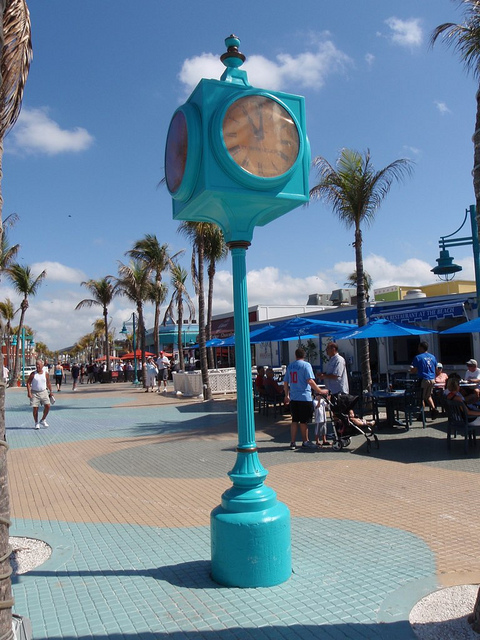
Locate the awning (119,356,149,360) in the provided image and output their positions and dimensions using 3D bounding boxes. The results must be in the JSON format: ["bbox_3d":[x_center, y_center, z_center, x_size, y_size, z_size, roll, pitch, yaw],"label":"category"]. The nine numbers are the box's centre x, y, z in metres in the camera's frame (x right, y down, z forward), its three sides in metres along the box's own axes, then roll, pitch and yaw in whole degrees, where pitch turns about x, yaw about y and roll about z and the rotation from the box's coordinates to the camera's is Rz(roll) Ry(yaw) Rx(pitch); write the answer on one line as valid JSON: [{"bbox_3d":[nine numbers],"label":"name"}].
[{"bbox_3d":[-8.285,2.921,39.327,1.352,0.353,1.279,5,-9,-44],"label":"awning"}]

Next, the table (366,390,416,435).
[{"bbox_3d":[3.268,1.946,10.844,0.857,0.649,0.910,-7,-10,30],"label":"table"}]

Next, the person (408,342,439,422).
[{"bbox_3d":[4.366,1.438,11.851,0.660,1.807,0.687,2,-6,-2],"label":"person"}]

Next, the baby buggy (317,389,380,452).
[{"bbox_3d":[1.904,1.766,8.823,1.102,0.988,0.535,0,-4,37],"label":"baby buggy"}]

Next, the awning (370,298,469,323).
[{"bbox_3d":[6.111,-0.268,16.897,0.248,0.608,3.987,-3,-5,-21],"label":"awning"}]

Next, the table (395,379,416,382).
[{"bbox_3d":[4.361,1.554,13.003,0.297,0.024,1.220,-5,-5,5],"label":"table"}]

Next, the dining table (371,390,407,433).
[{"bbox_3d":[3.313,1.923,10.723,0.851,0.741,0.846,15,-12,-10],"label":"dining table"}]

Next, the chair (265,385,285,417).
[{"bbox_3d":[0.902,2.097,13.161,0.455,0.858,0.917,-5,-4,2],"label":"chair"}]

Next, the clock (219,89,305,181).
[{"bbox_3d":[0.186,-1.409,3.807,0.722,0.663,0.066,-2,-5,-32],"label":"clock"}]

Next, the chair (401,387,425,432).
[{"bbox_3d":[3.473,1.811,10.225,0.471,0.739,0.523,-10,-8,38],"label":"chair"}]

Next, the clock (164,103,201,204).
[{"bbox_3d":[-0.460,-1.318,3.989,0.180,0.782,0.752,-3,-5,-15],"label":"clock"}]
